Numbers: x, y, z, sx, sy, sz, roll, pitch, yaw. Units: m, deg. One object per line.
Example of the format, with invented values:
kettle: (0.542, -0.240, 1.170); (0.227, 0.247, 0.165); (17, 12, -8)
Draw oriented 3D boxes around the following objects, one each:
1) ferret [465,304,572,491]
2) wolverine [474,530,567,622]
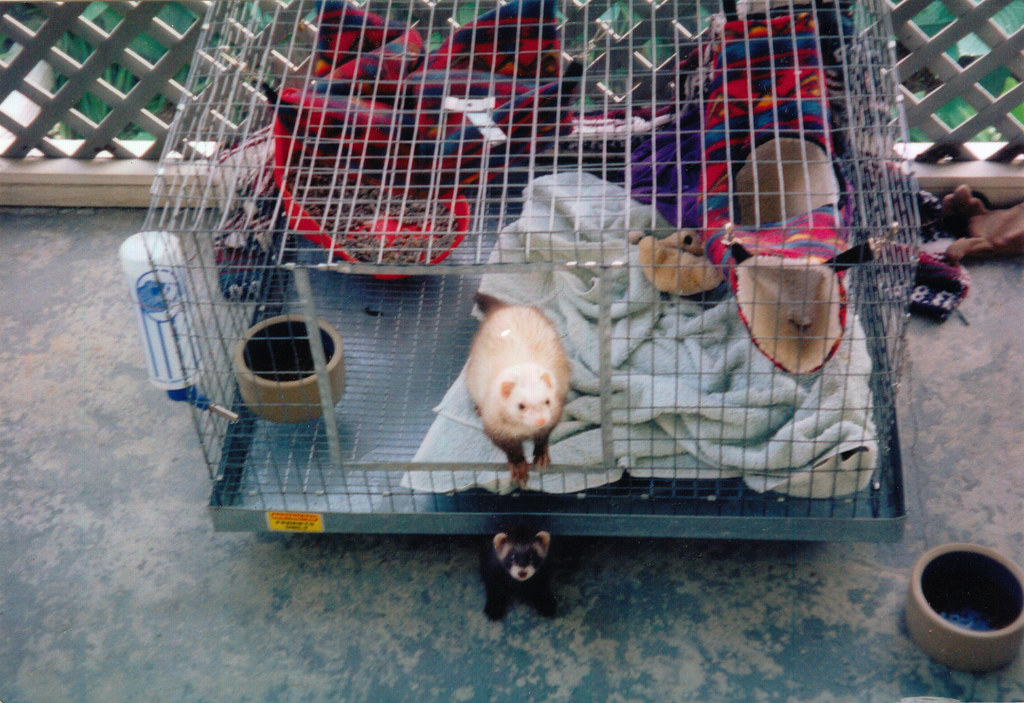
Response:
ferret: (0.008, 0.149, 3.372); (0.374, 0.454, 0.678); (-7, 58, 1)
wolverine: (0.019, 0.850, 3.351); (0.280, 0.275, 0.312); (-4, 71, 1)
